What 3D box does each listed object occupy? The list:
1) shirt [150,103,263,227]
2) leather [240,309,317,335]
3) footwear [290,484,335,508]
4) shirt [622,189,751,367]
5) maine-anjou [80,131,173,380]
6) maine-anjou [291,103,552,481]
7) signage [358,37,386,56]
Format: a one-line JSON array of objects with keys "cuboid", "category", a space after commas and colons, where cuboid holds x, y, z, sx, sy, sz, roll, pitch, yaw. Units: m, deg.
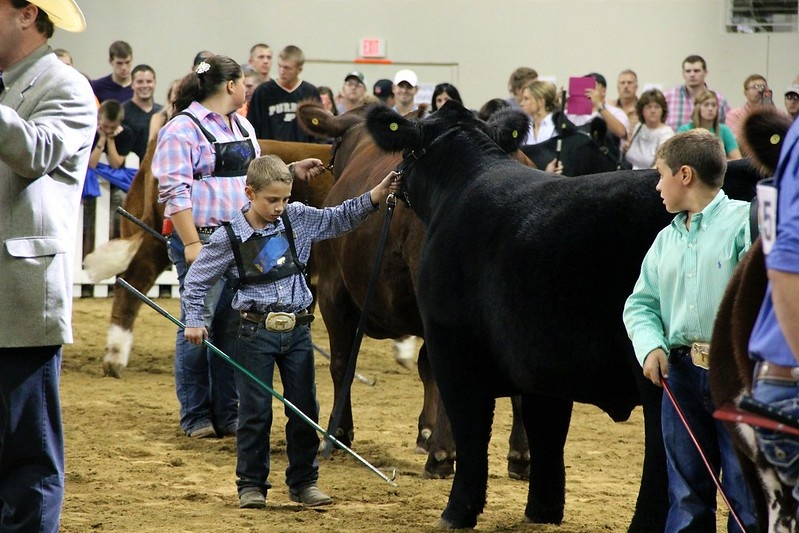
[{"cuboid": [-1.474, -0.829, 12.352, 0.559, 0.974, 1.095, -2, 2, 37], "category": "shirt"}, {"cuboid": [-0.879, 0.390, 11.394, 0.514, 0.146, 0.161, -1, 12, -11], "category": "leather"}, {"cuboid": [-0.629, 1.694, 11.506, 0.331, 0.142, 0.136, -6, -4, 39], "category": "footwear"}, {"cuboid": [1.837, 0.081, 10.038, 0.541, 1.006, 0.286, -5, 27, -33], "category": "shirt"}, {"cuboid": [-2.852, -0.150, 15.444, 0.805, 2.157, 3.927, 13, -4, -9], "category": "maine-anjou"}, {"cuboid": [0.037, 0.148, 13.205, 1.444, 3.014, 3.355, -2, 6, -22], "category": "maine-anjou"}, {"cuboid": [-0.391, -3.189, 22.778, 0.444, 0.319, 0.244, 0, -7, -1], "category": "signage"}]
